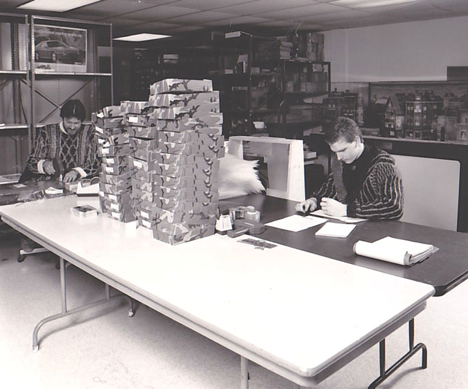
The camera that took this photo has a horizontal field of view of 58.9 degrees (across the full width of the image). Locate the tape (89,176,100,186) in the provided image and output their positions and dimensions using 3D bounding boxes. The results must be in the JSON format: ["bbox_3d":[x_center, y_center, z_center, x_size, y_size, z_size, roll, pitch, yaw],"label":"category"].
[{"bbox_3d":[-1.183,-0.121,3.505,0.111,0.060,0.157,-10,11,-30],"label":"tape"}]

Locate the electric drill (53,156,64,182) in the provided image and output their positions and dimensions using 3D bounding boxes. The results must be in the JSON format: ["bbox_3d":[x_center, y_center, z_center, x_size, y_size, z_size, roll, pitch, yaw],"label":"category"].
[{"bbox_3d":[-1.820,-0.257,4.278,0.068,0.304,0.080,-33,-37,9],"label":"electric drill"}]

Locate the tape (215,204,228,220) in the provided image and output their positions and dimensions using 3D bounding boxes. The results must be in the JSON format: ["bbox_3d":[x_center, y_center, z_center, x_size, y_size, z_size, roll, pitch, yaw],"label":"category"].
[{"bbox_3d":[-0.072,0.102,2.538,0.087,0.088,0.057,5,9,42],"label":"tape"}]
